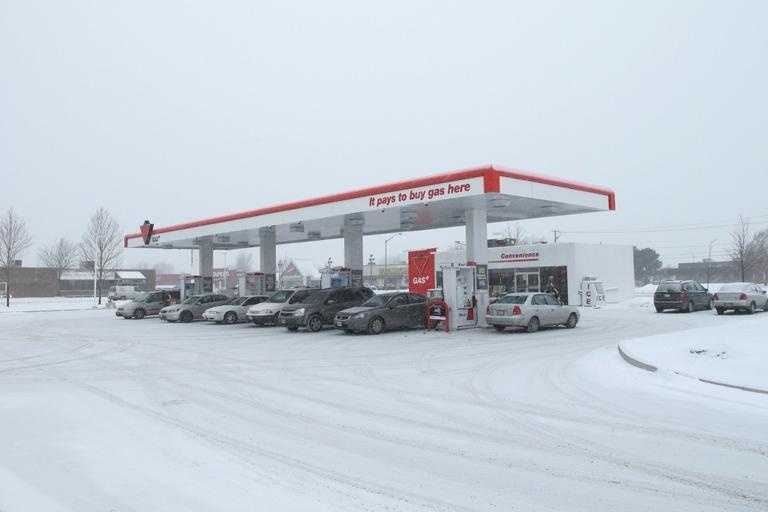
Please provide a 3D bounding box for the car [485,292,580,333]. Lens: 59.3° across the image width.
[{"bbox_3d":[5.531,2.055,24.954,3.235,1.099,1.468,-2,0,-40],"label":"car"}]
